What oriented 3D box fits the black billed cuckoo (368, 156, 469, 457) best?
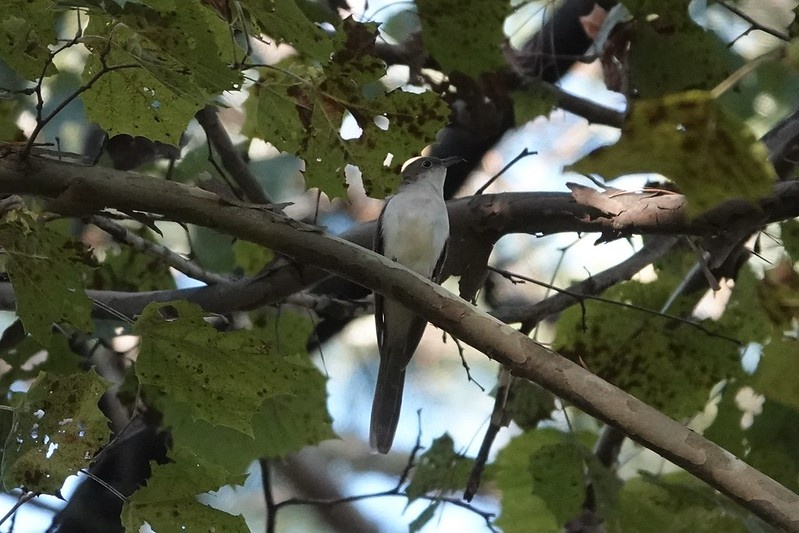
[{"bbox_3d":[0.033,0.151,4.917,0.390,1.365,0.426,10,3,-35],"label":"black billed cuckoo"}]
